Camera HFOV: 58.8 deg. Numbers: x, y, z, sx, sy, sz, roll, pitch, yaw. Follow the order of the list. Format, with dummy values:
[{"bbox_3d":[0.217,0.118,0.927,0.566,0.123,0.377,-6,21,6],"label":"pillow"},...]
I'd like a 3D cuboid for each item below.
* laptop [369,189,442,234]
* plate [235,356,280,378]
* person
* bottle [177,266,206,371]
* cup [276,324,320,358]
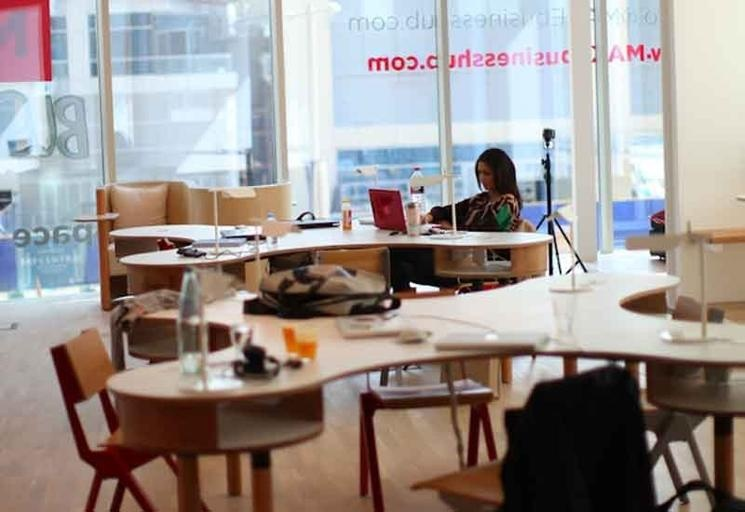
[{"bbox_3d":[0.206,-0.313,4.176,0.310,0.290,0.393,-7,8,-25],"label":"laptop"},{"bbox_3d":[-0.313,0.301,1.772,0.130,0.037,0.074,0,10,6],"label":"plate"},{"bbox_3d":[0.560,-0.188,4.412,0.913,1.005,0.672,-3,4,0],"label":"person"},{"bbox_3d":[-0.479,0.169,1.743,0.072,0.287,0.158,-5,10,-16],"label":"bottle"},{"bbox_3d":[-0.209,0.235,1.865,0.127,0.082,0.110,0,10,10],"label":"cup"}]
